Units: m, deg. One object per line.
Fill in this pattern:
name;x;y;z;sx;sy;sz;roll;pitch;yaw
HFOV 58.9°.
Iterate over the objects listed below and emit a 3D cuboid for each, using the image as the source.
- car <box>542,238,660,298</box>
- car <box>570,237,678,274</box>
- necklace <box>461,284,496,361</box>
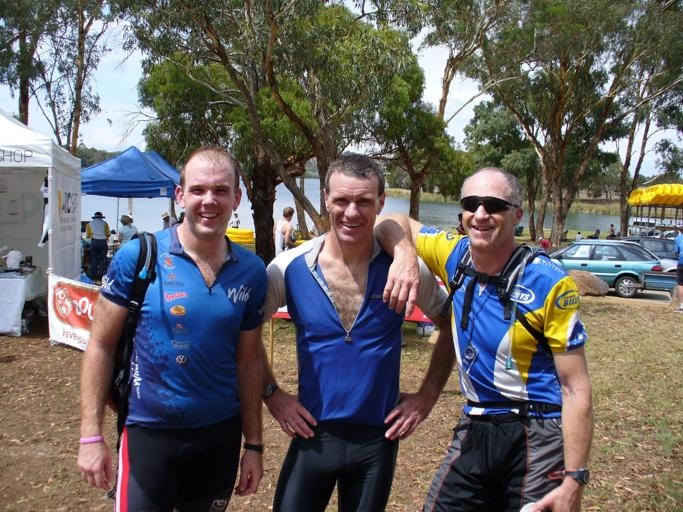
car;7.032;0.353;15.888;2.114;1.138;1.207;10;10;22
car;8.363;0.123;18.851;2.944;1.282;1.490;5;6;20
necklace;0.966;0.459;4.290;0.250;0.508;0.467;-3;6;6
